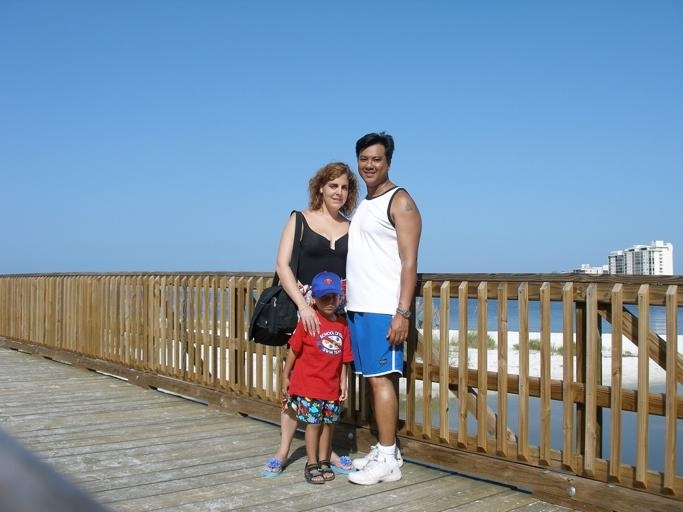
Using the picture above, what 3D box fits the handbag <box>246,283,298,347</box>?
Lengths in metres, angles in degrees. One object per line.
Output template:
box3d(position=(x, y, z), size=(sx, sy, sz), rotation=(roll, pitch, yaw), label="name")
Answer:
box3d(position=(-0.506, 0.431, 5.691), size=(0.273, 0.506, 0.361), rotation=(5, -11, 12), label="handbag")

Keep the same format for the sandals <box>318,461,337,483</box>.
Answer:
box3d(position=(-0.113, 1.595, 5.446), size=(0.116, 0.091, 0.326), rotation=(-2, -3, -6), label="sandals")

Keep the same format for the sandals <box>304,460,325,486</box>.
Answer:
box3d(position=(-0.196, 1.589, 5.390), size=(0.141, 0.103, 0.340), rotation=(0, -4, -6), label="sandals")

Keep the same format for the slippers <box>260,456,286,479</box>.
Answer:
box3d(position=(-0.511, 1.595, 5.554), size=(0.103, 0.091, 0.198), rotation=(1, -8, 3), label="slippers")

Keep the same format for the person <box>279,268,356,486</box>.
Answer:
box3d(position=(-0.170, 0.888, 5.437), size=(0.523, 1.522, 0.324), rotation=(-3, 6, -6), label="person")

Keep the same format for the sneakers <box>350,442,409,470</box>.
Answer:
box3d(position=(0.263, 1.514, 5.601), size=(0.504, 0.223, 0.173), rotation=(-2, -4, -10), label="sneakers")

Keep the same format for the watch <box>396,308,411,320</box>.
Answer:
box3d(position=(0.448, 0.417, 5.316), size=(0.078, 0.044, 0.076), rotation=(11, -2, -35), label="watch")

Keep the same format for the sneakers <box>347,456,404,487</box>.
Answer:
box3d(position=(0.255, 1.559, 5.442), size=(0.426, 0.203, 0.163), rotation=(-1, 14, -11), label="sneakers")
